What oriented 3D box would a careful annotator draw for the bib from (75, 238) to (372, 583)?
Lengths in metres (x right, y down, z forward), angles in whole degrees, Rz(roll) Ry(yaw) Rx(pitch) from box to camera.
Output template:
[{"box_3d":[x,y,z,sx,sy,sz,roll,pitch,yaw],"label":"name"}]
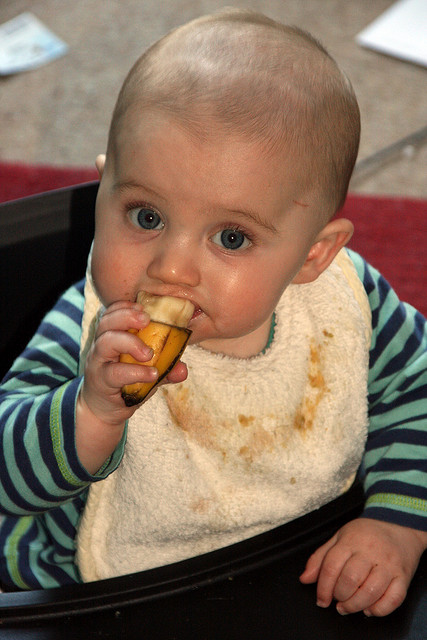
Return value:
[{"box_3d":[0.027,0.149,0.787,0.493,0.142,0.438,-3,86,-6],"label":"bib"}]
